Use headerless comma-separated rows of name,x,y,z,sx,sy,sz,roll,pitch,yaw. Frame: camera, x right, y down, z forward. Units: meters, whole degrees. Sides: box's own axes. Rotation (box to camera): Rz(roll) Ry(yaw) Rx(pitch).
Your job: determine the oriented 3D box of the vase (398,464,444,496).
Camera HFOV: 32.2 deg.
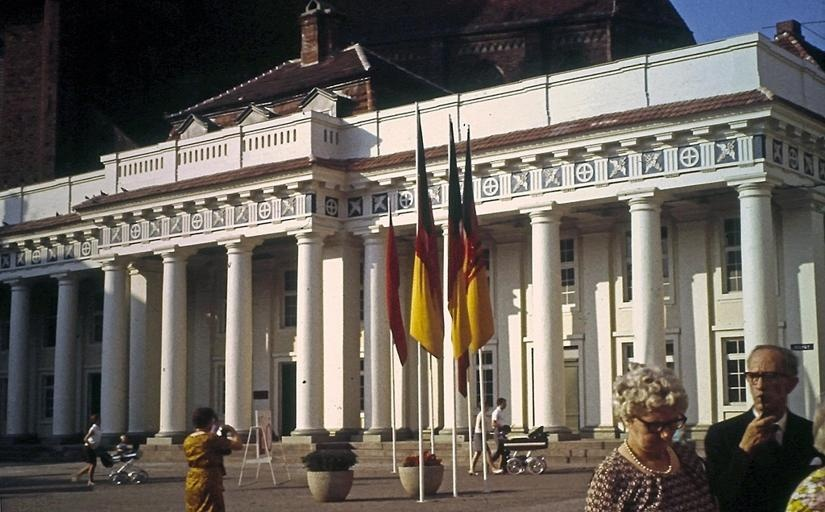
vase,0.303,7.410,46.680,1.197,1.080,0.990,9,-16,-44
